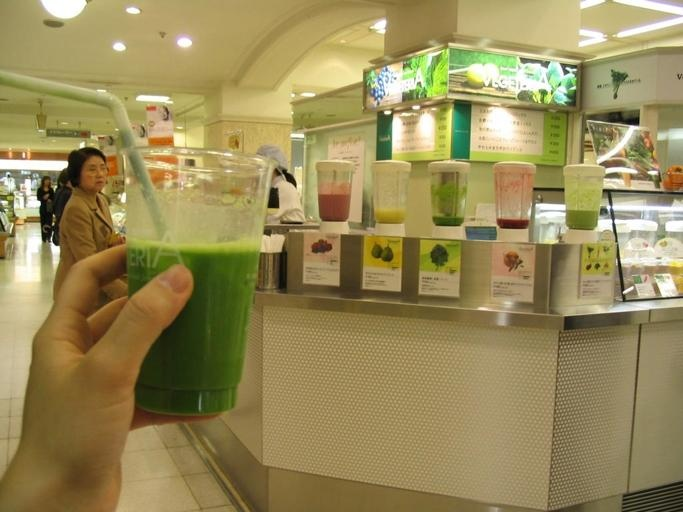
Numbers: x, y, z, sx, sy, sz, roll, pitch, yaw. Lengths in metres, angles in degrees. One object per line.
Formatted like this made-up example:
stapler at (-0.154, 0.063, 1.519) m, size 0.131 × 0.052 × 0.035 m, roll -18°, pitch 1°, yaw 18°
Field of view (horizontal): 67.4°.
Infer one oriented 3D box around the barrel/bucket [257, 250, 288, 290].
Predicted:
barrel/bucket at (-0.336, 0.074, 2.509) m, size 0.165 × 0.188 × 0.177 m, roll 1°, pitch 1°, yaw 0°
